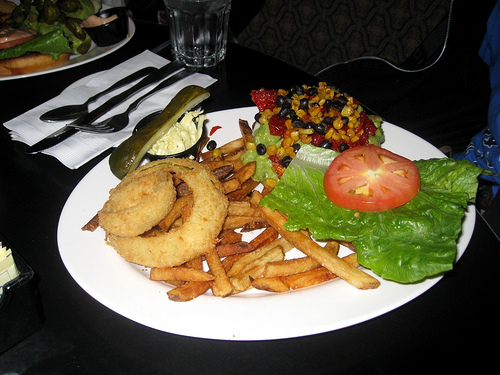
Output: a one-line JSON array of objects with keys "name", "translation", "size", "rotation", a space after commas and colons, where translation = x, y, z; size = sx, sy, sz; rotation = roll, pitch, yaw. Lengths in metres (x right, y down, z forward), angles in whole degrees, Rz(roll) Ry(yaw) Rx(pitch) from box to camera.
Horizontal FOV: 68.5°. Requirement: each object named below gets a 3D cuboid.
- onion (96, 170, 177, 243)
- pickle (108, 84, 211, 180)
[{"name": "onion", "translation": [-0.757, 0.127, 2.612], "size": [0.435, 0.187, 0.516], "rotation": [12, 53, 28]}, {"name": "pickle", "translation": [-0.772, -0.506, 3.222], "size": [0.349, 0.311, 1.475], "rotation": [29, 62, 10]}]
